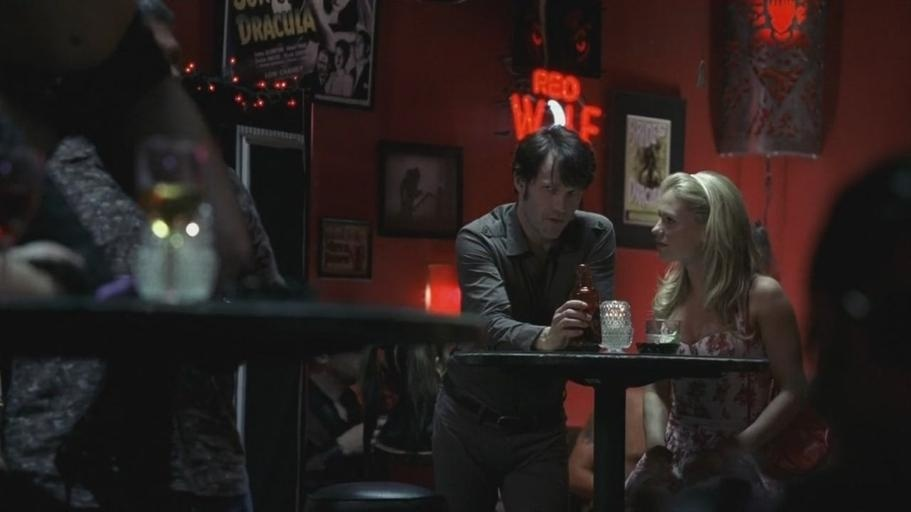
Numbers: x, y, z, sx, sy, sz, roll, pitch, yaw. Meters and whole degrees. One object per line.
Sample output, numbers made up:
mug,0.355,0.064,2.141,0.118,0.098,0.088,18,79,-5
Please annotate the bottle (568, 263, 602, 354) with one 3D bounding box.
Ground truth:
bottle,0.745,0.287,4.939,0.188,0.454,0.233,6,6,9

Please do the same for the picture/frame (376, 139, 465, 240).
picture/frame,-0.313,-0.523,6.884,0.878,0.932,0.064,0,-2,-23

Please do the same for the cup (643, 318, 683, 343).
cup,1.222,0.441,5.102,0.225,0.148,0.119,-1,-13,2

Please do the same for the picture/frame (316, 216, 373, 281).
picture/frame,-0.874,-0.055,6.709,0.503,0.473,0.064,2,-4,-23

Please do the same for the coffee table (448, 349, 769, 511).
coffee table,0.858,0.733,4.788,1.153,0.786,1.110,3,-7,-20
